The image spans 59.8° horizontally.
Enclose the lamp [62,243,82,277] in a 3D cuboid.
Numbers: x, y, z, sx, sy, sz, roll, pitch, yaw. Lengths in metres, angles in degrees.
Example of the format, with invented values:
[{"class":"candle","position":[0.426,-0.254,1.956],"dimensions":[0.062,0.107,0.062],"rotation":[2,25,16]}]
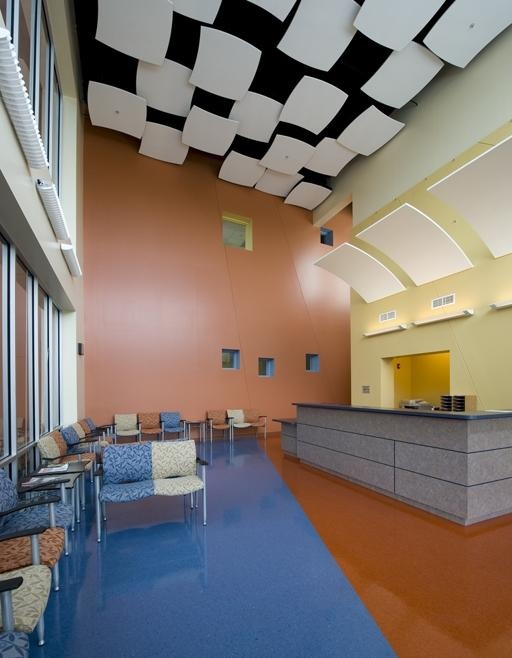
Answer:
[{"class":"lamp","position":[-2.476,-0.908,5.939],"dimensions":[0.152,0.180,0.749],"rotation":[-31,-5,-12]}]

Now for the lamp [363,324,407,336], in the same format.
[{"class":"lamp","position":[2.606,0.061,9.006],"dimensions":[0.147,0.188,1.418],"rotation":[2,-6,-18]}]
